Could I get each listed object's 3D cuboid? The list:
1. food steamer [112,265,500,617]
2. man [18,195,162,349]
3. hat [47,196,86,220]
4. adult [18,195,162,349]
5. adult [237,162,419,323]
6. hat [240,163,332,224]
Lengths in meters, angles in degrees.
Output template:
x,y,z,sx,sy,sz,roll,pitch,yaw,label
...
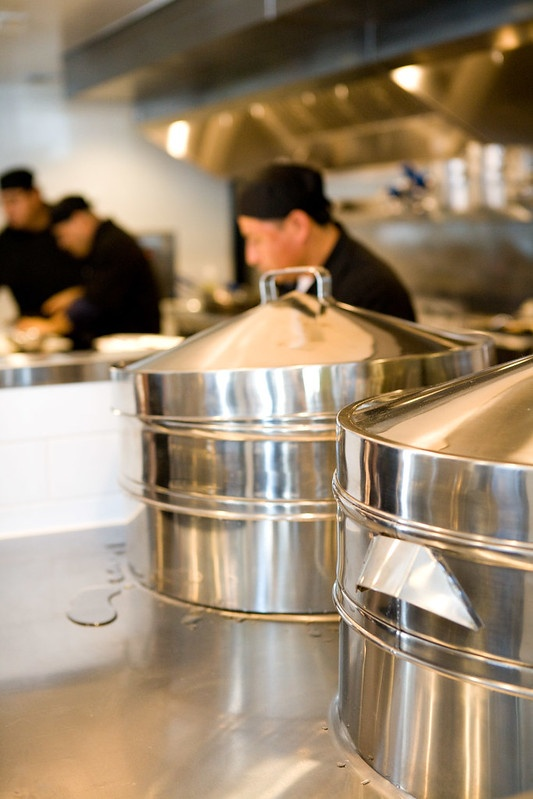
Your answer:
x,y,z,sx,sy,sz,roll,pitch,yaw,label
0.069,0.013,0.874,0.448,0.336,0.432,-12,8,-24,food steamer
-0.652,-0.412,2.561,0.419,0.603,0.408,19,41,26,man
-0.736,-0.705,2.647,0.138,0.038,0.128,-1,45,-9,hat
-0.680,-0.405,2.581,0.423,0.615,0.437,21,36,27,adult
0.151,-0.424,1.993,0.432,0.457,0.618,-12,10,-18,adult
0.003,-0.596,1.959,0.204,0.151,0.265,19,25,22,hat
